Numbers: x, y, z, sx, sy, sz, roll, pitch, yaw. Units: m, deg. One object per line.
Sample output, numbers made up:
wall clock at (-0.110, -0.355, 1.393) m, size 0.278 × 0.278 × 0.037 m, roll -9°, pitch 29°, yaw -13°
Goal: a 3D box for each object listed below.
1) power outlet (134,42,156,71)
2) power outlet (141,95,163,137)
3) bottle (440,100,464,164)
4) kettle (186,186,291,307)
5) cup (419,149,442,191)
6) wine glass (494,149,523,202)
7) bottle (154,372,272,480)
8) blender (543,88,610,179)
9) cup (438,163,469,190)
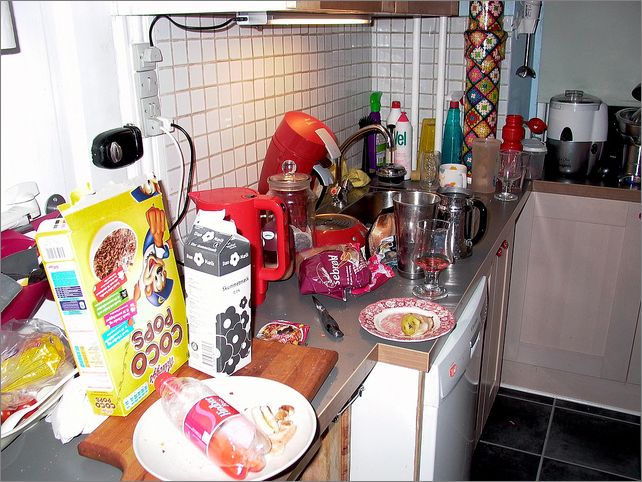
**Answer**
power outlet at (-0.455, -0.474, 1.136) m, size 0.032 × 0.070 × 0.063 m, roll 7°, pitch 16°, yaw 26°
power outlet at (-0.455, -0.330, 1.182) m, size 0.043 × 0.092 × 0.087 m, roll 11°, pitch 23°, yaw 14°
bottle at (0.637, -0.522, 2.156) m, size 0.096 × 0.298 × 0.210 m, roll 7°, pitch 20°, yaw 25°
kettle at (-0.183, 0.016, 1.006) m, size 0.230 × 0.261 × 0.150 m, roll 12°, pitch 28°, yaw 21°
cup at (0.513, -0.327, 2.045) m, size 0.098 × 0.158 × 0.099 m, roll -1°, pitch 18°, yaw 0°
wine glass at (0.849, -0.300, 2.000) m, size 0.105 × 0.209 × 0.196 m, roll 7°, pitch 21°, yaw 24°
bottle at (-0.190, 0.302, 0.765) m, size 0.249 × 0.083 × 0.090 m, roll 16°, pitch 26°, yaw 40°
blender at (1.270, -0.514, 2.216) m, size 0.259 × 0.358 × 0.128 m, roll 10°, pitch 21°, yaw 31°
cup at (0.597, -0.291, 2.046) m, size 0.098 × 0.118 × 0.165 m, roll 0°, pitch 29°, yaw 1°
